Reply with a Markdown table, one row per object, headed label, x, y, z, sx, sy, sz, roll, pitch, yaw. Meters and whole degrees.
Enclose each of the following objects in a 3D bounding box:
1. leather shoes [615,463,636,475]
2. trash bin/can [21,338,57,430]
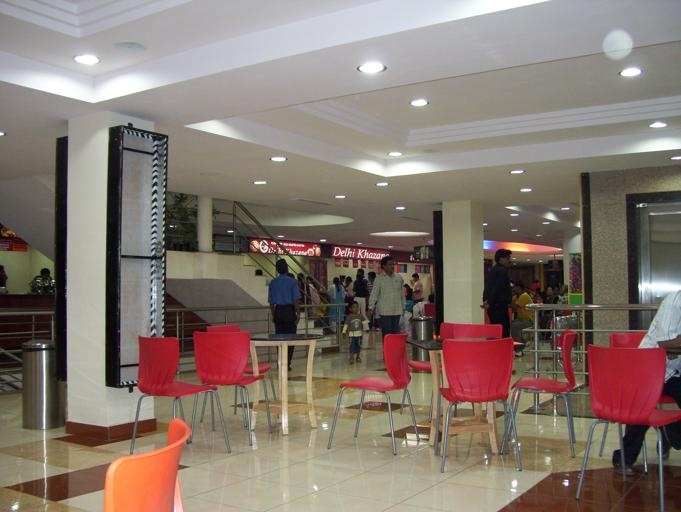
| label | x | y | z | sx | sy | sz | roll | pitch | yaw |
| --- | --- | --- | --- | --- | --- | --- | --- | --- | --- |
| leather shoes | 2.215 | 1.648 | 4.292 | 0.088 | 0.079 | 0.187 | 1 | -9 | -11 |
| trash bin/can | -3.281 | 1.401 | 6.010 | 0.315 | 0.881 | 0.381 | 0 | -2 | -27 |
